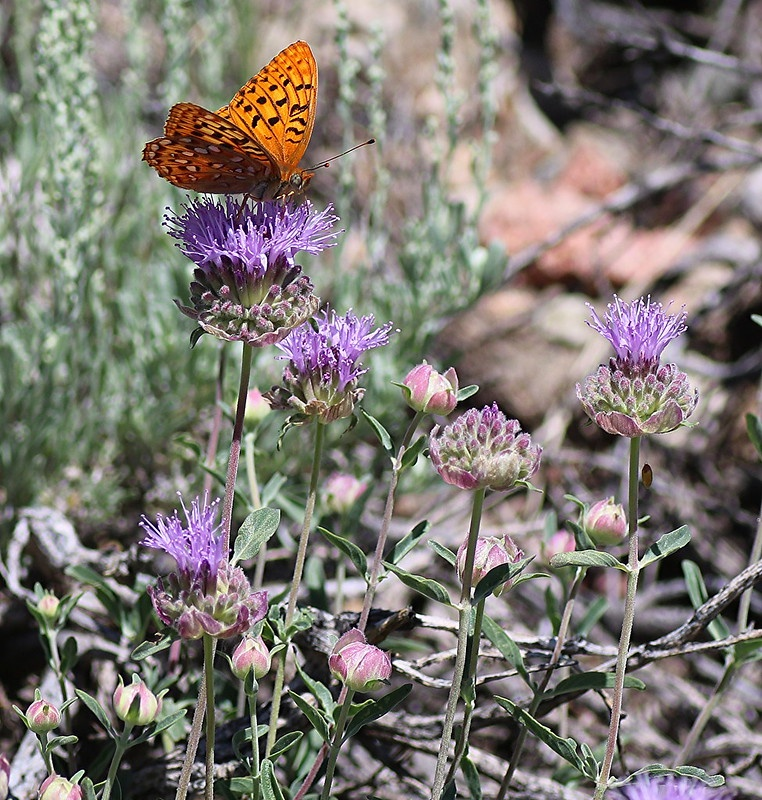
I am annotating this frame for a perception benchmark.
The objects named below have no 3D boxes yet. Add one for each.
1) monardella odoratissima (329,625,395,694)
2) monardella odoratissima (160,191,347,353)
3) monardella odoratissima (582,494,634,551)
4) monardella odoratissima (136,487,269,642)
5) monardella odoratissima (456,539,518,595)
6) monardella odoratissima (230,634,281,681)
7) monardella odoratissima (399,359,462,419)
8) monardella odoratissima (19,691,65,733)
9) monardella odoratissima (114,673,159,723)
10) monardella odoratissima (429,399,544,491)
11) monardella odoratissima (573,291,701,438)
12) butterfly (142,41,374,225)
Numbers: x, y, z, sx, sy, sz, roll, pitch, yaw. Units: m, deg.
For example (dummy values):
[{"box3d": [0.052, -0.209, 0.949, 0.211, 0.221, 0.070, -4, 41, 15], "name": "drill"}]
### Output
[{"box3d": [-0.040, 0.496, 1.915, 0.121, 0.128, 0.101, -5, 34, -11], "name": "monardella odoratissima"}, {"box3d": [-0.254, -0.291, 2.074, 0.335, 0.297, 0.260, -7, 80, 56], "name": "monardella odoratissima"}, {"box3d": [0.487, 0.265, 2.182, 0.085, 0.109, 0.112, 30, 103, 34], "name": "monardella odoratissima"}, {"box3d": [-0.333, 0.334, 1.889, 0.206, 0.196, 0.268, -4, 90, 17], "name": "monardella odoratissima"}, {"box3d": [0.223, 0.330, 2.003, 0.120, 0.097, 0.128, 5, 89, -18], "name": "monardella odoratissima"}, {"box3d": [-0.250, 0.498, 1.910, 0.072, 0.079, 0.096, 7, 73, -30], "name": "monardella odoratissima"}, {"box3d": [0.103, -0.018, 2.084, 0.129, 0.106, 0.120, 12, 87, 50], "name": "monardella odoratissima"}, {"box3d": [-0.697, 0.647, 2.033, 0.091, 0.106, 0.045, 1, 36, -8], "name": "monardella odoratissima"}, {"box3d": [-0.476, 0.592, 1.984, 0.085, 0.100, 0.115, -6, 79, -2], "name": "monardella odoratissima"}, {"box3d": [0.197, 0.111, 1.990, 0.219, 0.260, 0.178, -4, 99, 34], "name": "monardella odoratissima"}, {"box3d": [0.516, -0.038, 1.991, 0.217, 0.287, 0.232, 3, 24, 16], "name": "monardella odoratissima"}, {"box3d": [-0.292, -0.590, 2.210, 0.418, 0.430, 0.328, 16, 97, 7], "name": "butterfly"}]
